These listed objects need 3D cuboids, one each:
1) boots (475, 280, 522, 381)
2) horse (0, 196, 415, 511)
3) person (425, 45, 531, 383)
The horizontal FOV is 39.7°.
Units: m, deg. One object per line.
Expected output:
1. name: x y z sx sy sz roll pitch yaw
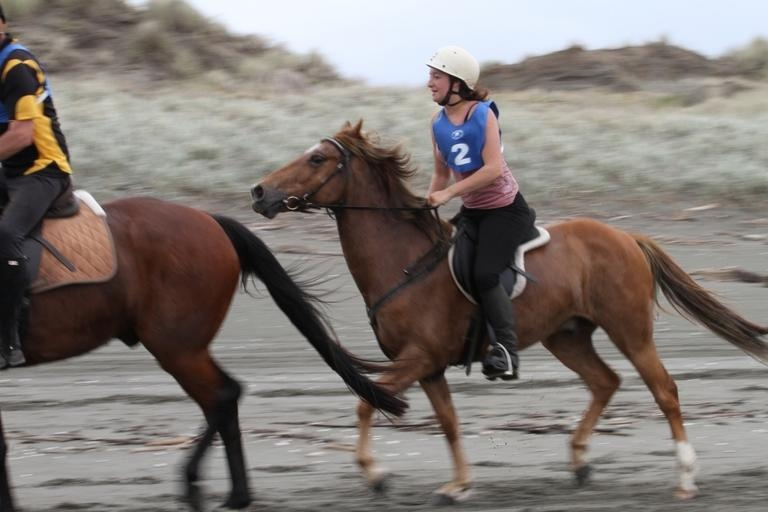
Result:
1. boots: 0.948 0.625 8.785 0.292 0.823 0.316 -3 11 5
2. horse: -1.539 0.760 8.485 2.538 2.479 0.744 -4 11 -11
3. person: 0.777 -0.342 8.880 0.851 2.858 0.869 -2 11 10
